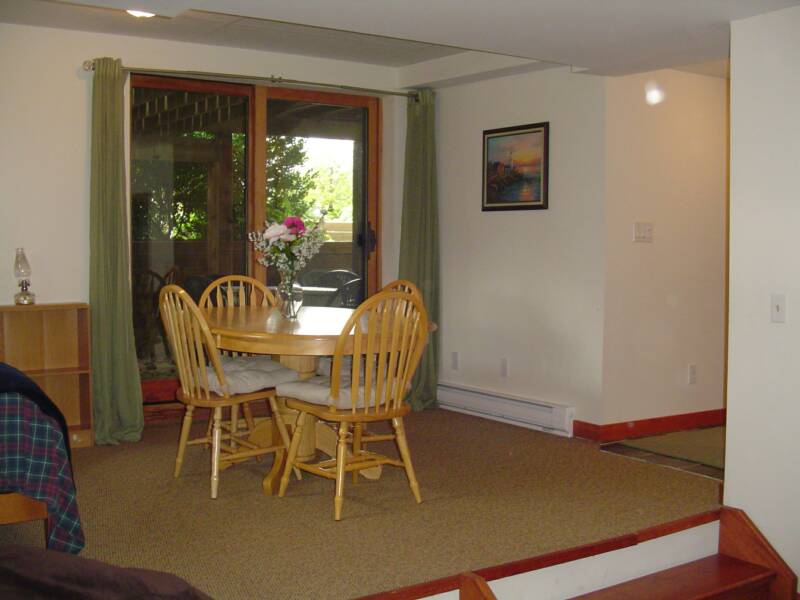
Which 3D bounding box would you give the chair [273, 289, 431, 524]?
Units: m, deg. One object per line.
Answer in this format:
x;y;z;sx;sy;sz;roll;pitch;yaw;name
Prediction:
-0.275;0.507;3.775;0.670;1.232;0.726;0;7;-29;chair

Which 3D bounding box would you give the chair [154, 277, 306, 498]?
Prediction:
-1.027;0.493;4.008;0.586;1.124;0.719;8;11;43;chair

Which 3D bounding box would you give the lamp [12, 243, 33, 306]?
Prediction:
-2.578;-0.165;4.601;0.125;0.380;0.284;-4;8;-30;lamp

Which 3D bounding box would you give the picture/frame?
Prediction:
0.936;-1.057;5.259;0.055;0.790;0.700;-4;6;-42;picture/frame

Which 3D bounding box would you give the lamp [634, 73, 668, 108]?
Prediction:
1.865;-1.538;4.929;0.218;0.231;0.053;-8;5;-25;lamp

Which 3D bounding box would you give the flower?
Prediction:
-0.705;-0.192;4.179;0.478;0.650;0.474;-9;-21;22;flower
